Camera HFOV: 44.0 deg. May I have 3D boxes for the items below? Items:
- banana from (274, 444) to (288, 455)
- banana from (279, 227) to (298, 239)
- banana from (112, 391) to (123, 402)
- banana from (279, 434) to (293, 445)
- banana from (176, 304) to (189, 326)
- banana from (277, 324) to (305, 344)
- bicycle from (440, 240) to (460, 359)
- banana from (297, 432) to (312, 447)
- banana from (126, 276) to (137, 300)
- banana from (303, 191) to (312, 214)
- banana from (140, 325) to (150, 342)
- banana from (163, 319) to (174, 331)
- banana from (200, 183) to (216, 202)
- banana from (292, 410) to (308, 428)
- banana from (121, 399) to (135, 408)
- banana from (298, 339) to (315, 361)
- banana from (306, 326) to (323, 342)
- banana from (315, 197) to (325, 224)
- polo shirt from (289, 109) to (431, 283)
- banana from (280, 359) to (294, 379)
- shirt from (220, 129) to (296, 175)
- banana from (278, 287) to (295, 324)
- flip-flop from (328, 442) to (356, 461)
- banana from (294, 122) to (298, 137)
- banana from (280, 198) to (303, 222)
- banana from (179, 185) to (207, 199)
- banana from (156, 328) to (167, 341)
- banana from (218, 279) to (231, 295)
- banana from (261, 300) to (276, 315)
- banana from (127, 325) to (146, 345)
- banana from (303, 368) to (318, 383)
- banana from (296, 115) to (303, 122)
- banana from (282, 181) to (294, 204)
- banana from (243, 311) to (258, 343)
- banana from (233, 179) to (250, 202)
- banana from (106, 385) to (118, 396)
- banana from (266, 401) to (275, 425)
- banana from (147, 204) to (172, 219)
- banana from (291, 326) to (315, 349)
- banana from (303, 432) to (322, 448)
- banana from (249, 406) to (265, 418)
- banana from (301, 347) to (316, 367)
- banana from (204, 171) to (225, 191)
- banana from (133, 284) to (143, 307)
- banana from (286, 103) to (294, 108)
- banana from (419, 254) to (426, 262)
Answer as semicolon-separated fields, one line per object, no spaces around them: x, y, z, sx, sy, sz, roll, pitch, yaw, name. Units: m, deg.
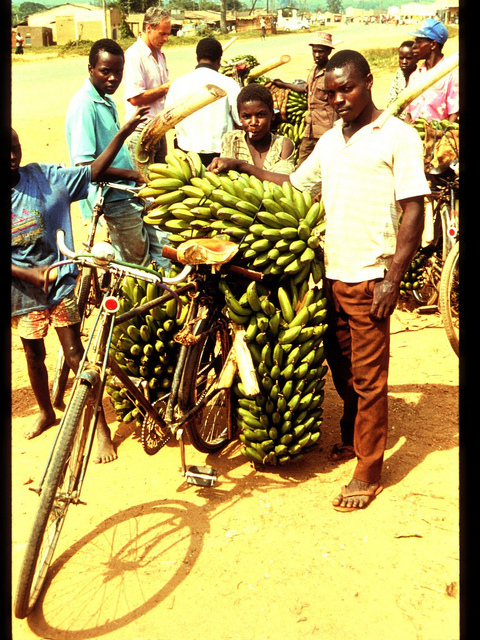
0.238;0.746;3.415;0.041;0.044;0.129;-3;-17;4;banana
0.273;-0.476;3.238;0.119;0.055;0.035;6;-1;-38;banana
-0.801;0.504;3.900;0.063;0.094;0.053;1;14;13;banana
0.270;0.688;3.415;0.078;0.084;0.081;-2;13;2;banana
-0.340;-0.031;3.536;0.043;0.119;0.081;22;3;-33;banana
0.274;0.099;3.373;0.065;0.081;0.203;22;-33;-20;banana
1.458;-0.139;4.115;0.128;0.727;0.902;2;13;19;bicycle
0.382;0.689;3.414;0.057;0.036;0.125;-17;-21;-23;banana
-0.674;-0.204;3.715;0.041;0.131;0.050;-5;6;-31;banana
0.392;-0.689;3.433;0.067;0.102;0.029;7;-26;-29;banana
-0.590;0.088;3.706;0.057;0.118;0.075;-5;14;-9;banana
-0.445;0.031;3.746;0.058;0.066;0.040;-3;28;-25;banana
-0.183;-0.730;3.376;0.039;0.130;0.049;-41;-16;19;banana
0.353;0.570;3.465;0.041;0.150;0.051;37;5;4;banana
-0.738;0.552;3.915;0.087;0.064;0.043;-3;13;-2;banana
0.387;0.162;3.398;0.051;0.164;0.059;20;22;-13;banana
0.440;0.079;3.380;0.084;0.093;0.066;-11;16;-32;banana
0.461;-0.636;3.434;0.040;0.150;0.061;16;11;41;banana
0.646;-0.597;2.951;0.215;0.831;0.614;-15;18;-40;polo shirt
0.275;0.280;3.356;0.039;0.124;0.056;21;41;-9;banana
0.184;-1.182;4.138;0.384;0.339;0.688;-12;16;-36;shirt
0.263;-0.080;3.391;0.069;0.209;0.064;-33;11;-31;banana
0.616;0.810;3.659;0.224;0.078;0.069;1;29;-2;flip-flop
0.843;-2.830;8.831;0.057;0.187;0.063;4;-30;6;banana
0.293;-0.621;3.339;0.066;0.055;0.194;29;1;19;banana
-0.260;-0.729;3.354;0.178;0.057;0.051;18;1;30;banana
-0.482;0.091;3.743;0.066;0.074;0.044;0;12;-9;banana
-0.080;-0.188;3.265;0.065;0.073;0.032;5;13;38;banana
0.161;-0.070;3.273;0.067;0.049;0.084;2;-22;11;banana
-0.638;0.109;3.789;0.057;0.070;0.208;-31;-37;6;banana
0.419;0.318;3.435;0.037;0.110;0.039;16;42;-5;banana
0.903;-3.058;8.973;0.064;0.021;0.081;-6;-30;1;banana
0.278;-0.733;3.396;0.050;0.139;0.047;-3;-32;-12;banana
0.078;0.036;3.339;0.047;0.184;0.068;14;-31;7;banana
0.001;-0.736;3.328;0.063;0.050;0.179;15;38;-43;banana
-0.850;0.463;3.916;0.033;0.037;0.113;-4;6;-7;banana
0.183;0.530;3.411;0.038;0.123;0.043;0;16;15;banana
-0.473;-0.622;3.508;0.166;0.046;0.057;-24;-29;24;banana
0.345;0.113;3.416;0.070;0.056;0.196;-55;5;-38;banana
0.431;0.704;3.499;0.053;0.043;0.156;38;-23;13;banana
0.105;0.529;3.431;0.054;0.062;0.187;0;-9;10;banana
0.400;0.213;3.399;0.037;0.136;0.055;23;-26;19;banana
-0.145;-0.802;3.416;0.058;0.058;0.172;5;33;-31;banana
-0.651;-0.162;3.811;0.044;0.141;0.051;0;31;-5;banana
0.746;-3.202;8.823;0.111;0.056;0.053;-8;14;-24;banana
1.839;-0.627;5.927;0.052;0.059;0.016;-1;12;-7;banana
